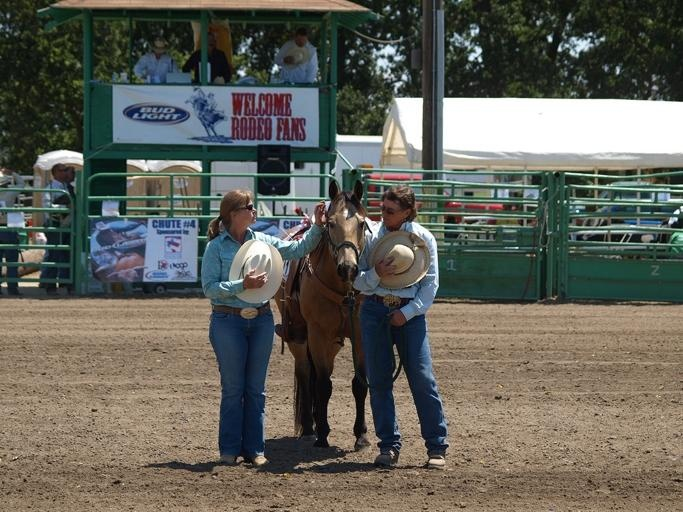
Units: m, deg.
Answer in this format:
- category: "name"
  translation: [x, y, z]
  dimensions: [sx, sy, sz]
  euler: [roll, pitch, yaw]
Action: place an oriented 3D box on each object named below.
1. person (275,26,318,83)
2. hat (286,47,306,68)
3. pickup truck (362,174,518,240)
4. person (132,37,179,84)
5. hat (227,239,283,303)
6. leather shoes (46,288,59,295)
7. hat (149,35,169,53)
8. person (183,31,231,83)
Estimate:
- category: "person"
  translation: [-1.135, -5.196, 44.329]
  dimensions: [1.107, 1.555, 0.872]
  euler: [15, 15, 28]
- category: "hat"
  translation: [-1.227, -5.199, 44.175]
  dimensions: [0.414, 0.465, 0.226]
  euler: [9, 10, -5]
- category: "pickup truck"
  translation: [2.204, -1.006, 43.803]
  dimensions: [3.969, 2.031, 3.119]
  euler: [2, -6, -9]
- category: "person"
  translation: [-4.976, -5.012, 44.231]
  dimensions: [0.877, 1.515, 0.810]
  euler: [13, 19, 35]
- category: "hat"
  translation: [-1.716, 0.412, 33.413]
  dimensions: [1.009, 1.258, 0.466]
  euler: [31, -10, -14]
- category: "leather shoes"
  translation: [-7.373, 1.021, 42.643]
  dimensions: [0.285, 0.178, 0.437]
  euler: [-1, 2, -11]
- category: "hat"
  translation: [-4.816, -5.577, 44.392]
  dimensions: [0.452, 0.594, 0.599]
  euler: [0, 6, -12]
- category: "person"
  translation: [-3.559, -5.218, 44.336]
  dimensions: [1.189, 1.406, 0.976]
  euler: [-1, 2, -4]
